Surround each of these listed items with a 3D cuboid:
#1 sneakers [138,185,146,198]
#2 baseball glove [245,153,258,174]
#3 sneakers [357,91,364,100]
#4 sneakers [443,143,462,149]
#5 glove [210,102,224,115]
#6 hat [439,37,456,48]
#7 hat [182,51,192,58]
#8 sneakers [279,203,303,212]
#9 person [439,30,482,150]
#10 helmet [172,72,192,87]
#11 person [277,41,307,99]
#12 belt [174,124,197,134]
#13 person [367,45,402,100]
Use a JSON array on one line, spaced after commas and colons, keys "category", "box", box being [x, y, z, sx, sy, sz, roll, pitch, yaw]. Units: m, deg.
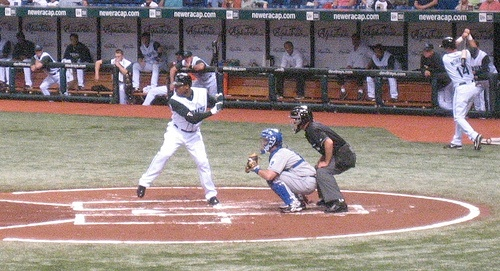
[{"category": "sneakers", "box": [-2.533, 1.307, 19.599, 0.263, 0.194, 0.273, 8, 6, -3]}, {"category": "baseball glove", "box": [0.049, 0.631, 19.386, 0.274, 0.427, 0.453, 0, 2, 2]}, {"category": "sneakers", "box": [3.464, -1.227, 26.284, 0.231, 0.319, 0.148, 0, 2, 1]}, {"category": "sneakers", "box": [5.482, 0.292, 22.836, 0.468, 0.153, 0.162, 4, 9, 14]}, {"category": "glove", "box": [-0.783, -0.623, 19.445, 0.252, 0.269, 0.414, 0, 2, 1]}, {"category": "hat", "box": [5.265, -2.476, 22.674, 0.403, 0.272, 0.206, 21, -28, 34]}, {"category": "hat", "box": [-1.847, -2.367, 24.864, 0.266, 0.206, 0.359, 0, 2, -6]}, {"category": "sneakers", "box": [0.965, 1.658, 19.303, 0.390, 0.110, 0.199, -5, 6, -8]}, {"category": "person", "box": [5.730, -1.234, 22.791, 1.054, 3.264, 0.905, 0, 3, 11]}, {"category": "helmet", "box": [-1.624, -1.277, 19.452, 0.479, 0.195, 0.316, 0, 8, 14]}, {"category": "person", "box": [1.300, -2.056, 26.720, 0.877, 1.821, 0.863, 0, 2, 6]}, {"category": "belt", "box": [-1.468, -0.141, 19.525, 0.355, 0.070, 0.286, 9, 11, 10]}, {"category": "person", "box": [4.137, -1.935, 26.229, 0.977, 1.745, 0.986, 0, 3, 14]}]
